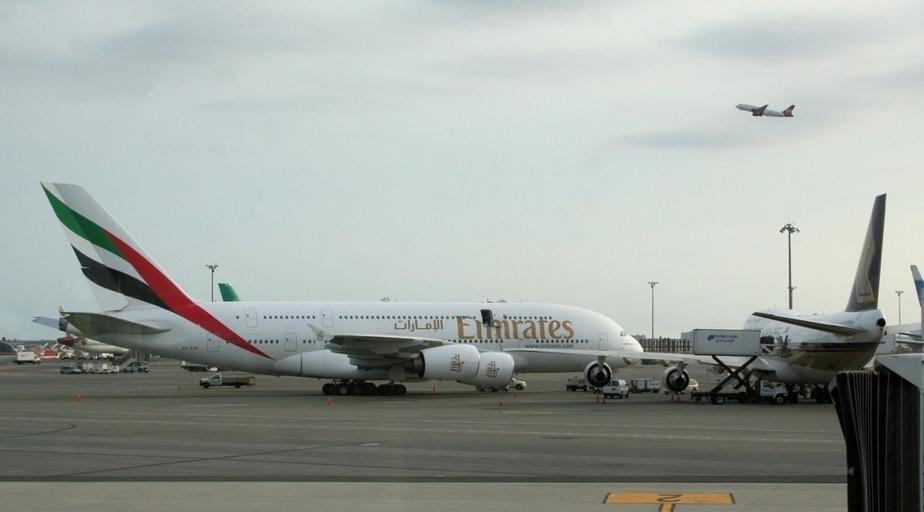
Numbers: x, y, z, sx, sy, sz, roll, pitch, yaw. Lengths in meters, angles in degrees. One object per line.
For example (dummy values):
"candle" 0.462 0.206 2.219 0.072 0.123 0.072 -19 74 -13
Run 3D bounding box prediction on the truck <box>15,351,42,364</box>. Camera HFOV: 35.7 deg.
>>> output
"truck" -42.455 9.907 138.764 2.951 1.044 1.415 -1 0 -2
